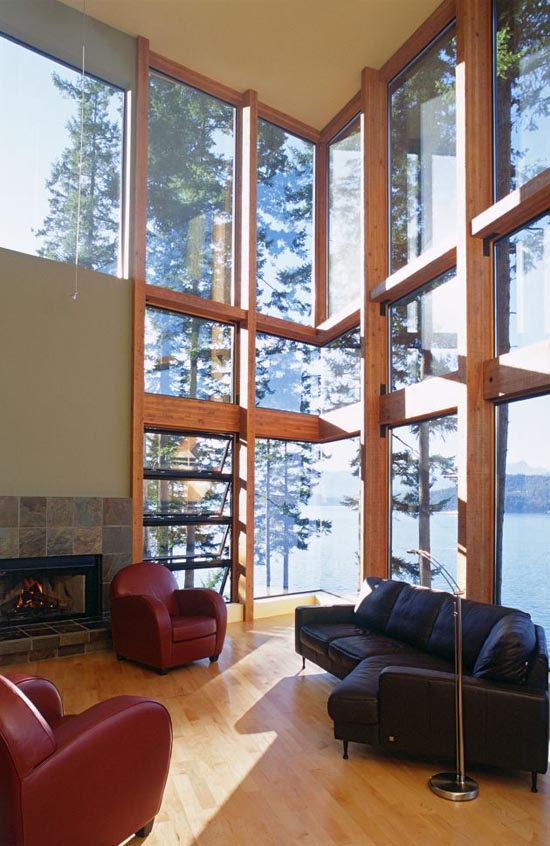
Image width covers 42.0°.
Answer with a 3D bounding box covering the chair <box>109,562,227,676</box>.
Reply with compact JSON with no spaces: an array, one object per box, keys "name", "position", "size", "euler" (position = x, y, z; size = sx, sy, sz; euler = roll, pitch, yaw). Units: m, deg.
[{"name":"chair","position":[-0.884,1.629,6.108],"size":[0.726,0.764,0.772],"euler":[-1,-2,41]}]
